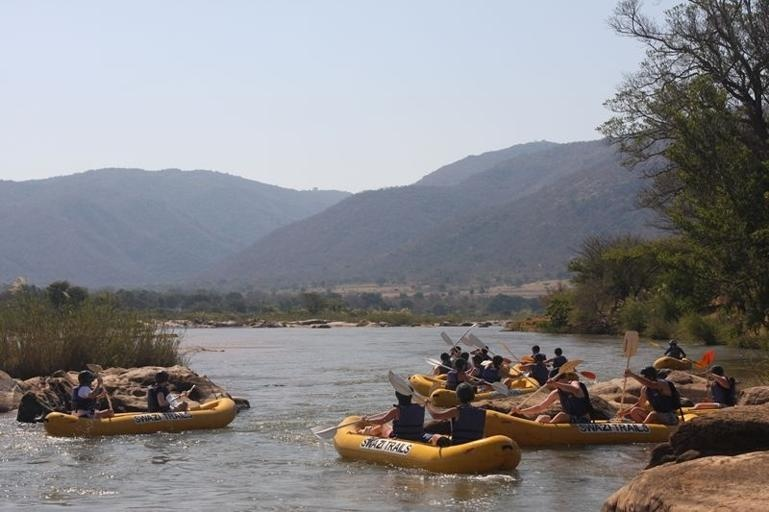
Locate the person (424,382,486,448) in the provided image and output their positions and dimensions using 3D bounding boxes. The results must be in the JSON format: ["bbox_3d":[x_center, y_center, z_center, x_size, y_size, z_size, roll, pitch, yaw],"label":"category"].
[{"bbox_3d":[2.266,4.677,32.124,1.414,1.753,0.604,-4,-4,3],"label":"person"}]

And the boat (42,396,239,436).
[{"bbox_3d":[-7.726,5.384,35.136,4.581,0.857,2.027,2,-11,-18],"label":"boat"}]

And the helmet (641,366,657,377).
[{"bbox_3d":[8.248,3.616,33.737,0.372,0.365,0.310,35,18,34],"label":"helmet"}]

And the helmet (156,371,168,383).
[{"bbox_3d":[-7.257,3.993,35.555,0.305,0.361,0.372,-1,4,-6],"label":"helmet"}]

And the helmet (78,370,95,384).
[{"bbox_3d":[-9.531,3.911,34.768,0.434,0.440,0.512,-3,-5,-14],"label":"helmet"}]

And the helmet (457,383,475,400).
[{"bbox_3d":[2.407,4.071,32.155,0.507,0.560,0.395,-3,-4,-4],"label":"helmet"}]

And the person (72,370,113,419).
[{"bbox_3d":[-9.353,4.479,35.129,1.120,1.615,1.322,1,1,-4],"label":"person"}]
